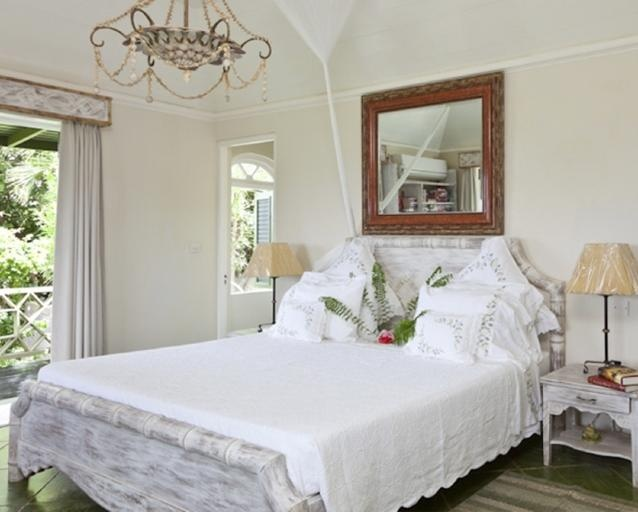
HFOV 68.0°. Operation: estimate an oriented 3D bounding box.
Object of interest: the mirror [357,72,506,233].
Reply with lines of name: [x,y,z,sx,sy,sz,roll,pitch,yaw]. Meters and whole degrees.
mirror: [1.035,-0.926,4.160,1.419,1.496,0.111,-2,1,29]
